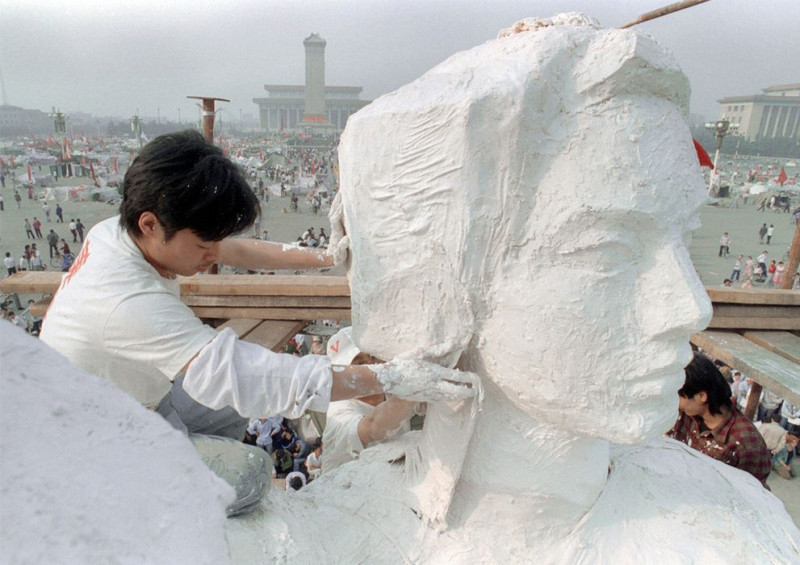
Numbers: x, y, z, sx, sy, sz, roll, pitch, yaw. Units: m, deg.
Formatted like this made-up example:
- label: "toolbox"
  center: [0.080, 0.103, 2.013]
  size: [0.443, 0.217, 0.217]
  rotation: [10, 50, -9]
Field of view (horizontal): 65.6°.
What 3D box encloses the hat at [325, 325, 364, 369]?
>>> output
- label: "hat"
  center: [-0.292, 0.319, 3.110]
  size: [0.183, 0.222, 0.234]
  rotation: [0, 13, 13]
